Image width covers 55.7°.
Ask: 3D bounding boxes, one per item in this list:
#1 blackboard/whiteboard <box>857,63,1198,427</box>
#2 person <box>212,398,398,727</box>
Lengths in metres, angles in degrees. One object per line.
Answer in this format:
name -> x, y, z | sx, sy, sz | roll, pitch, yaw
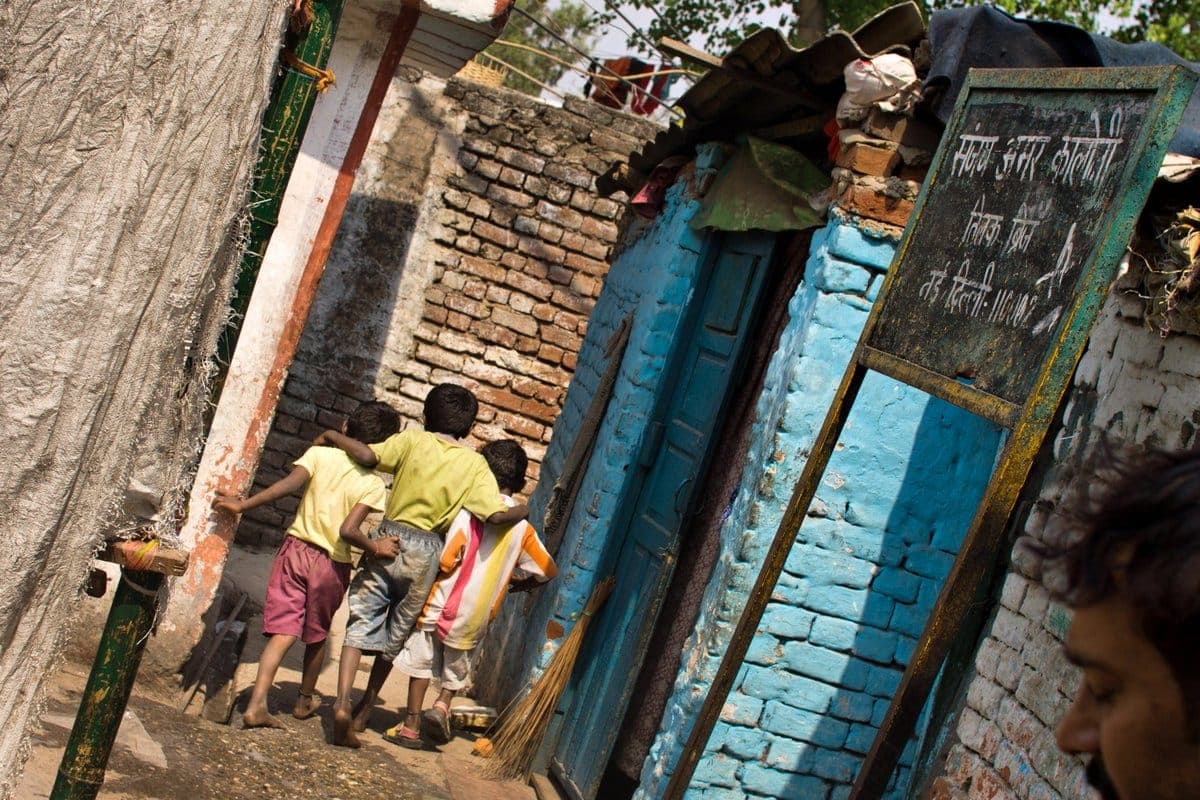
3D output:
blackboard/whiteboard -> 1.271, -0.510, 3.536 | 0.105, 1.137, 0.996 | 17, 0, -25
person -> -1.552, 0.888, 5.863 | 0.757, 1.665, 0.616 | 17, -1, -40
